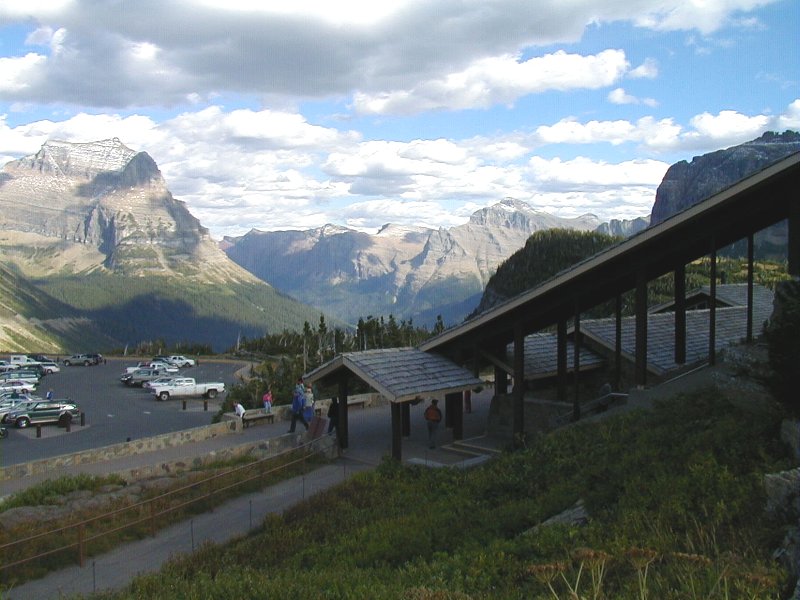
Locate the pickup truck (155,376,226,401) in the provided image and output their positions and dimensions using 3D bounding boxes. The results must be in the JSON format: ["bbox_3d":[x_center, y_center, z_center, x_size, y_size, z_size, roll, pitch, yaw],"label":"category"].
[{"bbox_3d":[-18.578,7.741,66.898,4.537,1.549,2.211,4,-8,-29],"label":"pickup truck"}]

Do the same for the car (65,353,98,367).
[{"bbox_3d":[-40.460,7.691,97.547,3.423,1.403,1.909,4,-4,-2],"label":"car"}]

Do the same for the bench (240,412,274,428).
[{"bbox_3d":[-8.509,7.095,45.964,0.586,0.747,2.795,3,4,34],"label":"bench"}]

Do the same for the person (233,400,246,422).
[{"bbox_3d":[-9.446,6.527,45.275,0.624,0.770,1.686,-1,4,-11],"label":"person"}]
